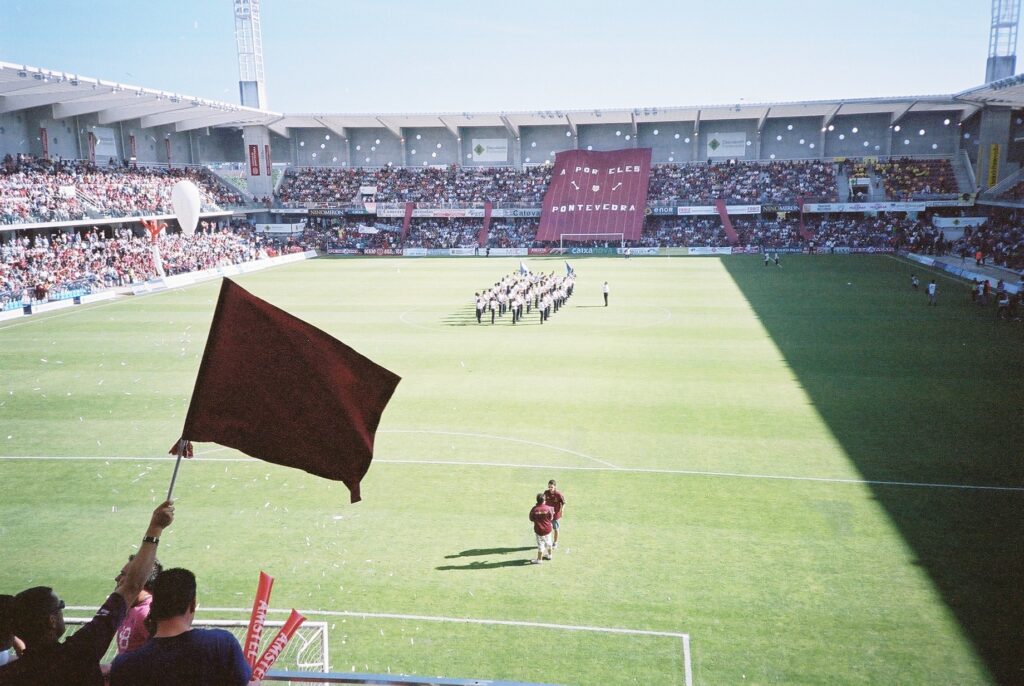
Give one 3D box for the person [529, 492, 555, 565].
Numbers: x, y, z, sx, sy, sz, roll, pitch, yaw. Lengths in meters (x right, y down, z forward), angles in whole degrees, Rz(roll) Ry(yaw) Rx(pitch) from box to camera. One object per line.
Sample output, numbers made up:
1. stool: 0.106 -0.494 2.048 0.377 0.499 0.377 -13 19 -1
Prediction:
1. person: 0.745 4.650 25.081 0.576 1.680 0.688 -1 13 2
